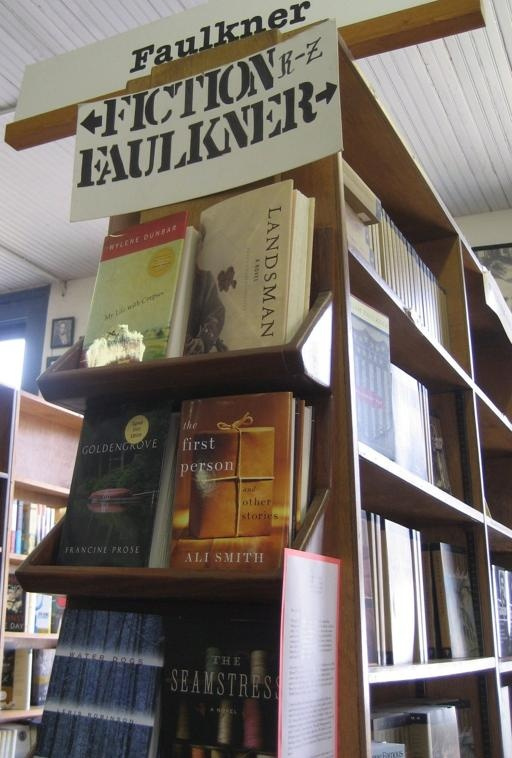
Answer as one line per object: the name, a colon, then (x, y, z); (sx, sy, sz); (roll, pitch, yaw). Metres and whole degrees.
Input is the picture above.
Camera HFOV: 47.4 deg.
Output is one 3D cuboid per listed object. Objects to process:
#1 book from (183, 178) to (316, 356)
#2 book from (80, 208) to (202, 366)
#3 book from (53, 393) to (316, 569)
book: (-0.008, -0.152, 0.826); (0.193, 0.289, 0.084); (-12, -25, 40)
book: (-0.188, -0.127, 0.908); (0.158, 0.256, 0.035); (-9, -28, 21)
book: (-0.082, 0.133, 0.745); (0.173, 0.187, 0.062); (-8, -29, 20)
